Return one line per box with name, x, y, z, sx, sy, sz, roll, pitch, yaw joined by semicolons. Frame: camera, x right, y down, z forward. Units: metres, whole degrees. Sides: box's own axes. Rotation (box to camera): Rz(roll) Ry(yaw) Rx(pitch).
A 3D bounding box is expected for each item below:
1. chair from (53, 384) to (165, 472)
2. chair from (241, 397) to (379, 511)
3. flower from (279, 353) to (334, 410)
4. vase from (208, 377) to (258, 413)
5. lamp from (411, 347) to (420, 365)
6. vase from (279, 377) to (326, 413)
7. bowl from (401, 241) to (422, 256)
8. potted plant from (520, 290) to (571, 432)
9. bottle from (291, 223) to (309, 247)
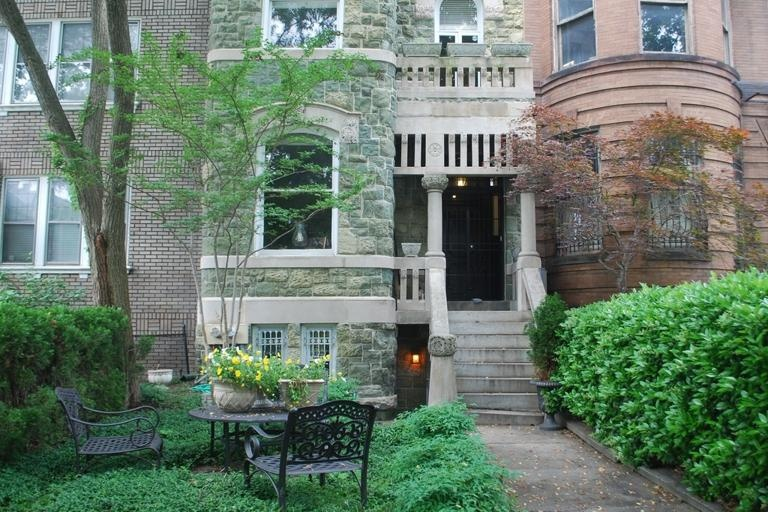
chair;-4.143;2.481;10.560;1.740;1.111;0.953;2;2;-9
chair;-1.074;2.547;9.739;1.483;1.448;1.650;3;-3;-21
flower;-1.232;1.920;10.767;0.672;0.608;0.845;-1;-5;-5
vase;-2.184;2.127;10.699;0.777;0.452;0.737;4;-6;-39
lamp;0.727;2.367;16.202;0.286;0.369;0.277;0;-3;-3
vase;-1.237;2.055;10.466;0.613;0.364;0.479;1;-11;-6
bowl;0.576;-0.147;15.205;0.409;0.283;0.317;0;-7;-1
potted plant;2.952;1.894;12.743;0.733;2.437;0.621;-3;-5;26
bottle;-1.734;-0.435;14.553;0.462;0.674;0.447;-1;-3;0
